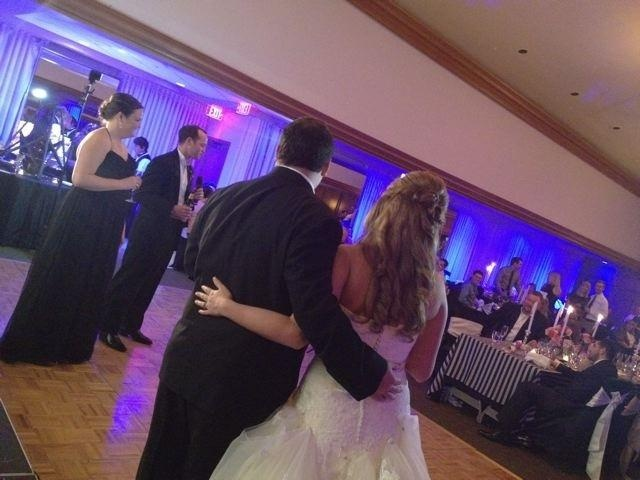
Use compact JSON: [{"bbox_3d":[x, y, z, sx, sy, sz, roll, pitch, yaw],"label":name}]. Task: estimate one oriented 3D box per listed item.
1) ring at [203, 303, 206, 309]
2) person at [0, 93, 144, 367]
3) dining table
[{"bbox_3d":[-0.467,0.265,1.754,0.012,0.017,0.006,1,14,21],"label":"ring"},{"bbox_3d":[-1.604,-0.090,2.897,0.581,1.463,0.268,14,3,-26],"label":"person"},{"bbox_3d":[1.688,1.567,4.674,0.811,0.543,0.851,28,-6,27],"label":"dining table"}]
